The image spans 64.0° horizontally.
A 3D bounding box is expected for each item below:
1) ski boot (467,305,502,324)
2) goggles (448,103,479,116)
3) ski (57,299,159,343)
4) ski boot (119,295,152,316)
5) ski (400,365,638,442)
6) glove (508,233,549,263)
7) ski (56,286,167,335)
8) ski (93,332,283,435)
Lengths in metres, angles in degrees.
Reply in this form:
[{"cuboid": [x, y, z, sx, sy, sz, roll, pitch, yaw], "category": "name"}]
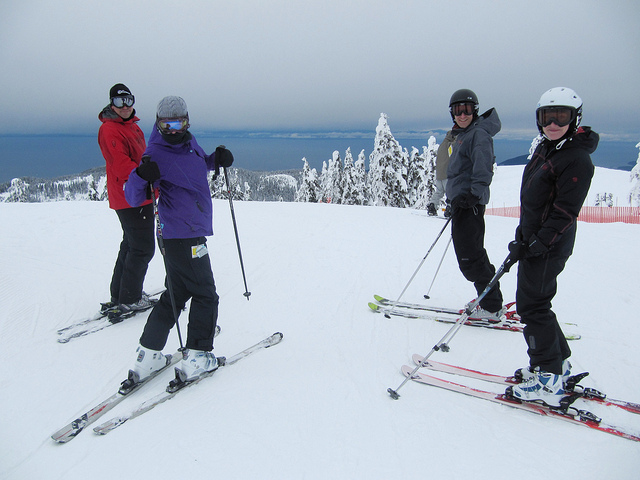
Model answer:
[{"cuboid": [2.367, 1.072, 7.566, 0.516, 0.285, 0.225, 10, 10, 12], "category": "ski boot"}, {"cuboid": [2.030, -1.869, 7.272, 0.382, 0.173, 0.128, -1, 13, 1], "category": "goggles"}, {"cuboid": [-3.028, 1.191, 7.416, 0.191, 0.103, 1.137, 20, 34, 27], "category": "ski"}, {"cuboid": [-2.789, 0.966, 7.853, 0.488, 0.232, 0.164, -27, 34, -31], "category": "ski boot"}, {"cuboid": [2.359, 1.962, 6.040, 2.068, 0.131, 0.238, 15, 34, 23], "category": "ski"}, {"cuboid": [2.415, 0.105, 6.042, 0.344, 0.180, 0.314, -18, 47, 29], "category": "glove"}, {"cuboid": [-3.085, 1.069, 7.580, 0.160, 0.097, 1.152, 23, 45, 34], "category": "ski"}, {"cuboid": [-1.547, 1.772, 6.268, 2.923, 0.174, 0.253, -25, -20, -11], "category": "ski"}]
